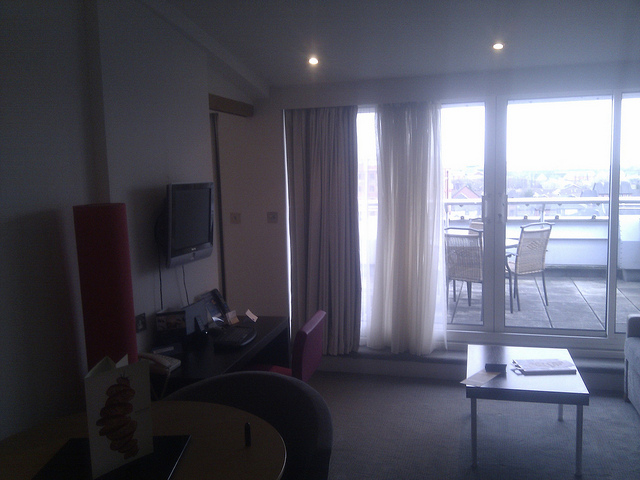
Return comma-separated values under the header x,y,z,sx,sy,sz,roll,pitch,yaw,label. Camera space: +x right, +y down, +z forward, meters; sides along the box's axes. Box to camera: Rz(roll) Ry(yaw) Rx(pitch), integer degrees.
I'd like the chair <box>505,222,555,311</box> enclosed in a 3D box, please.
x,y,z,sx,sy,sz,roll,pitch,yaw,label
1.953,0.225,4.804,0.454,0.838,0.478,-6,9,-27,chair

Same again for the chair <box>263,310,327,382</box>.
x,y,z,sx,sy,sz,roll,pitch,yaw,label
-0.188,0.707,3.570,0.362,0.516,0.702,4,6,20,chair

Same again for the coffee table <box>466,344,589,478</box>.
x,y,z,sx,sy,sz,roll,pitch,yaw,label
1.424,0.988,3.488,0.625,0.502,1.004,-1,3,15,coffee table

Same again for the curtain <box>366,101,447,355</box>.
x,y,z,sx,sy,sz,roll,pitch,yaw,label
0.802,-0.105,4.569,0.721,2.286,0.177,0,4,15,curtain

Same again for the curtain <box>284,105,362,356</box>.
x,y,z,sx,sy,sz,roll,pitch,yaw,label
0.032,-0.078,4.708,0.705,2.329,0.259,-1,4,0,curtain

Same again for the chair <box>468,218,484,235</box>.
x,y,z,sx,sy,sz,roll,pitch,yaw,label
1.449,-0.133,4.622,0.132,0.178,0.122,1,-1,-5,chair

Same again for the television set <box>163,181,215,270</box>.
x,y,z,sx,sy,sz,roll,pitch,yaw,label
-0.879,-0.112,3.314,0.066,0.549,0.542,7,8,13,television set

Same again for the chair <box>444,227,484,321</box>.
x,y,z,sx,sy,sz,roll,pitch,yaw,label
1.433,0.279,4.828,0.409,0.907,0.366,6,18,41,chair
